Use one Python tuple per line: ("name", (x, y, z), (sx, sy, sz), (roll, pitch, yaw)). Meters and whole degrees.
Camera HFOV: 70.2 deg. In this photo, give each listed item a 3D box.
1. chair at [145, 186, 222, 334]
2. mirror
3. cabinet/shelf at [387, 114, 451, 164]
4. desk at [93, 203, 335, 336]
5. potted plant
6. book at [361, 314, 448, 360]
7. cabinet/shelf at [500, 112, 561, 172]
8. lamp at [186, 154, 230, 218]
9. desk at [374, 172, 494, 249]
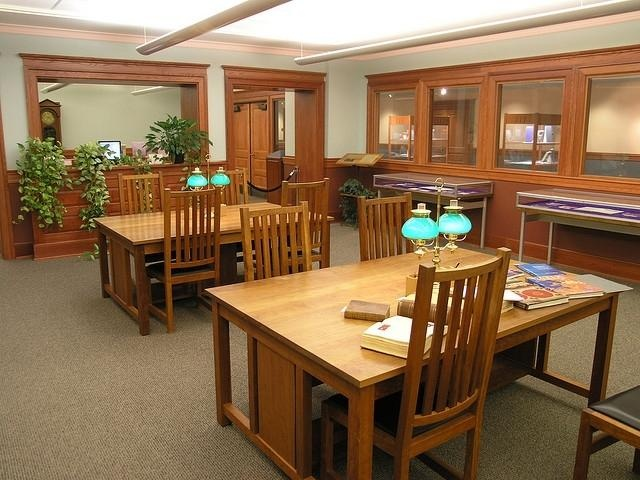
("chair", (-1.282, 0.153, 4.251), (0.650, 1.211, 0.635), (-6, 10, -37))
("mirror", (-3.014, -2.024, 7.281), (0.247, 1.468, 3.126), (9, 20, 31))
("cabinet/shelf", (1.737, -1.685, 7.998), (0.953, 0.856, 0.397), (13, 21, 36))
("desk", (-1.524, 0.268, 4.587), (1.882, 0.856, 1.252), (-7, 10, -39))
("potted plant", (-2.298, -1.558, 7.322), (1.001, 0.699, 0.963), (-20, 6, 7))
("book", (0.334, 0.412, 2.014), (0.225, 0.050, 0.223), (8, 16, 38))
("cabinet/shelf", (3.096, -1.375, 6.541), (0.924, 0.825, 0.313), (8, 17, 32))
("lamp", (-1.081, -0.522, 4.405), (0.425, 0.324, 0.191), (-6, 18, -29))
("desk", (1.678, -0.541, 7.433), (0.629, 0.821, 1.756), (-6, 14, -37))
